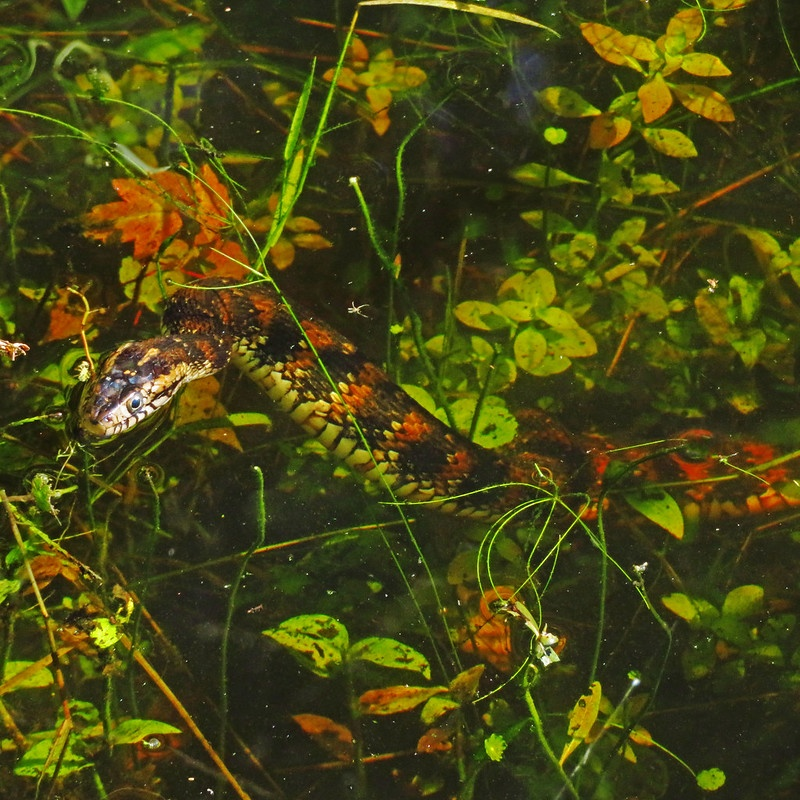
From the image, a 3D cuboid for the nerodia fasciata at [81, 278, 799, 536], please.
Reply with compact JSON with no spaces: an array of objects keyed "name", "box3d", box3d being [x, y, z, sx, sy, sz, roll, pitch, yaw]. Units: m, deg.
[{"name":"nerodia fasciata","box3d":[0.136,0.050,3.741,2.093,0.265,0.433,15,47,-2]}]
